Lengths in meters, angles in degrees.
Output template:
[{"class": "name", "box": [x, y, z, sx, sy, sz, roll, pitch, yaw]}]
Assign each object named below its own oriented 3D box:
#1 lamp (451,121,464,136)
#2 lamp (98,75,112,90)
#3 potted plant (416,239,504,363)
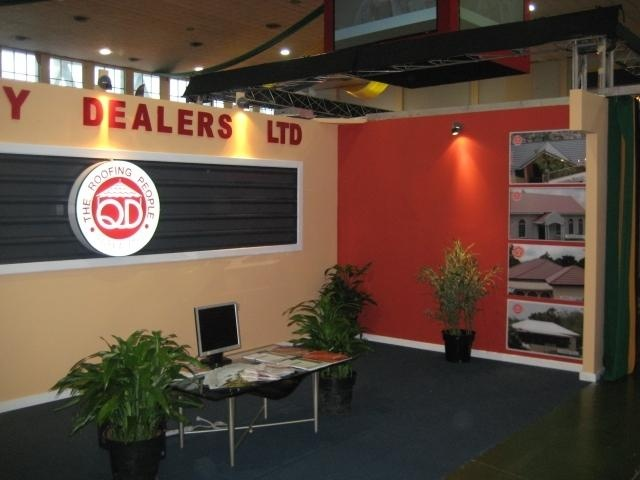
[{"class": "lamp", "box": [2.110, -1.709, 7.754, 0.177, 0.214, 0.156, 3, 6, 22]}, {"class": "lamp", "box": [-2.697, -1.983, 6.327, 0.146, 0.168, 0.224, 0, 3, -22]}, {"class": "potted plant", "box": [2.064, 0.881, 7.577, 1.100, 1.775, 0.660, 3, 6, 24]}]
